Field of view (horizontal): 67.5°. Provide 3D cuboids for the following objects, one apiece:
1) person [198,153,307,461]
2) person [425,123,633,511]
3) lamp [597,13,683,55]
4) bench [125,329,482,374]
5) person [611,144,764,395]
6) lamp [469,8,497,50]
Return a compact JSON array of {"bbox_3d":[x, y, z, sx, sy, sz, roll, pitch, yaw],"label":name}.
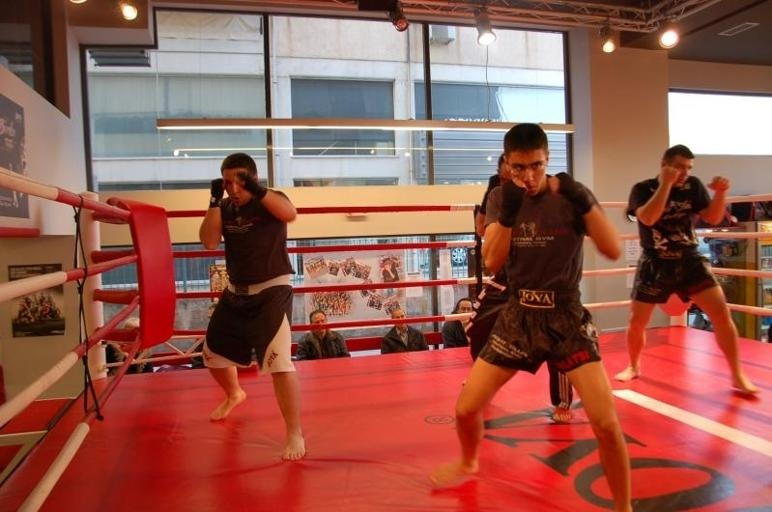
[{"bbox_3d":[-0.847,0.298,3.996,0.880,1.988,0.407,3,7,34],"label":"person"},{"bbox_3d":[0.926,0.351,3.409,1.052,2.226,0.522,2,7,23],"label":"person"},{"bbox_3d":[3.074,-2.791,7.311,0.670,0.476,1.211,-2,6,-12],"label":"lamp"},{"bbox_3d":[-0.654,0.820,4.886,2.660,0.381,0.114,-1,-8,-5],"label":"bench"},{"bbox_3d":[2.312,0.081,4.535,0.931,1.846,0.675,1,6,15],"label":"person"},{"bbox_3d":[1.182,-2.762,6.932,0.232,0.444,0.429,0,6,9],"label":"lamp"}]
